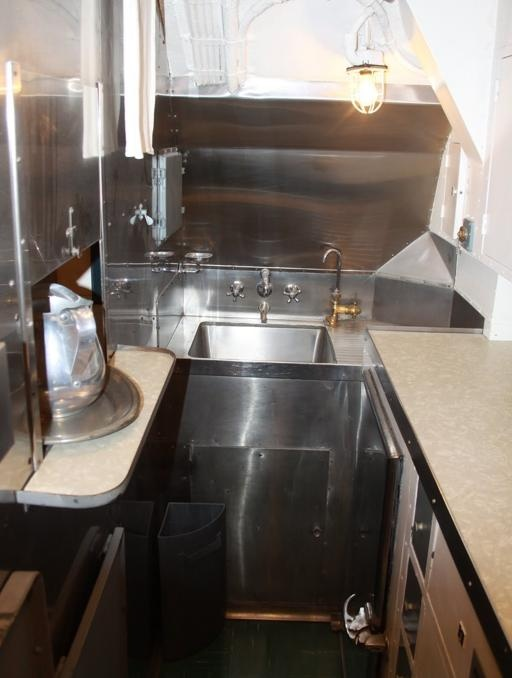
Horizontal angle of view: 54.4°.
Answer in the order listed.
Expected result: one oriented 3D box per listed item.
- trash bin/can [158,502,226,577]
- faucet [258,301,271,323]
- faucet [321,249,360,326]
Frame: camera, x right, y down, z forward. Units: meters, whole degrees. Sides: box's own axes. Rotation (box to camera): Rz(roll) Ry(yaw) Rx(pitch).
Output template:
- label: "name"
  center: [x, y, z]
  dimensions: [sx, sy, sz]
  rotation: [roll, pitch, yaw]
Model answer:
- label: "trash bin/can"
  center: [-0.248, 0.743, 1.915]
  dimensions: [0.190, 0.300, 0.182]
  rotation: [0, -4, -2]
- label: "faucet"
  center: [0.046, -0.152, 2.813]
  dimensions: [0.065, 0.160, 0.052]
  rotation: [4, 18, 9]
- label: "faucet"
  center: [0.469, -0.292, 2.798]
  dimensions: [0.186, 0.438, 0.112]
  rotation: [4, -18, 2]
